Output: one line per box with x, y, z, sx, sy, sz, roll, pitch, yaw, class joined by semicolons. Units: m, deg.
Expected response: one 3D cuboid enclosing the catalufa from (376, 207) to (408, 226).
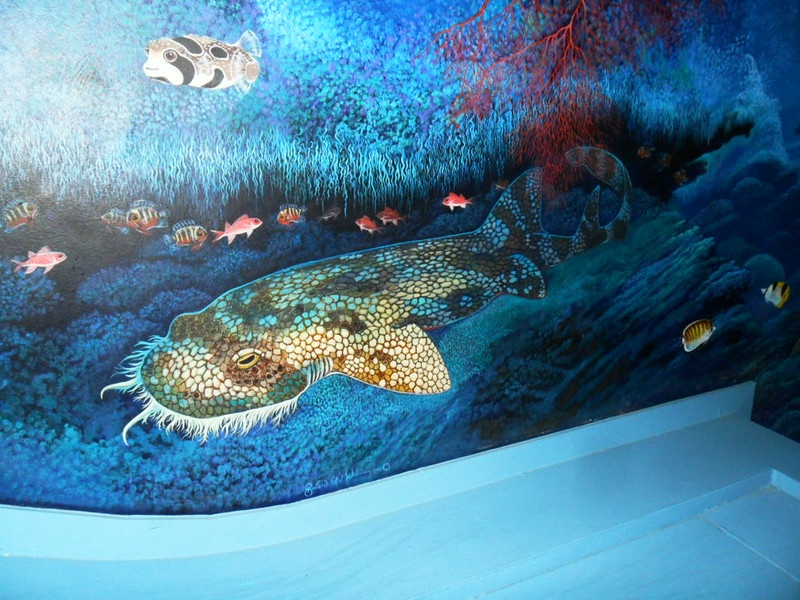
-0.049;-0.509;4.129;0.175;0.113;0.039;-10;0;-31;catalufa

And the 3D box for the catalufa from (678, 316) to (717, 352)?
2.316;0.274;5.241;0.291;0.249;0.081;-10;0;-23;catalufa

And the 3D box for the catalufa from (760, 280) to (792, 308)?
3.042;-0.035;5.383;0.266;0.213;0.130;-10;0;-33;catalufa

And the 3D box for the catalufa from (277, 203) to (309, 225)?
-0.631;-0.495;3.933;0.169;0.118;0.037;-10;0;-21;catalufa
